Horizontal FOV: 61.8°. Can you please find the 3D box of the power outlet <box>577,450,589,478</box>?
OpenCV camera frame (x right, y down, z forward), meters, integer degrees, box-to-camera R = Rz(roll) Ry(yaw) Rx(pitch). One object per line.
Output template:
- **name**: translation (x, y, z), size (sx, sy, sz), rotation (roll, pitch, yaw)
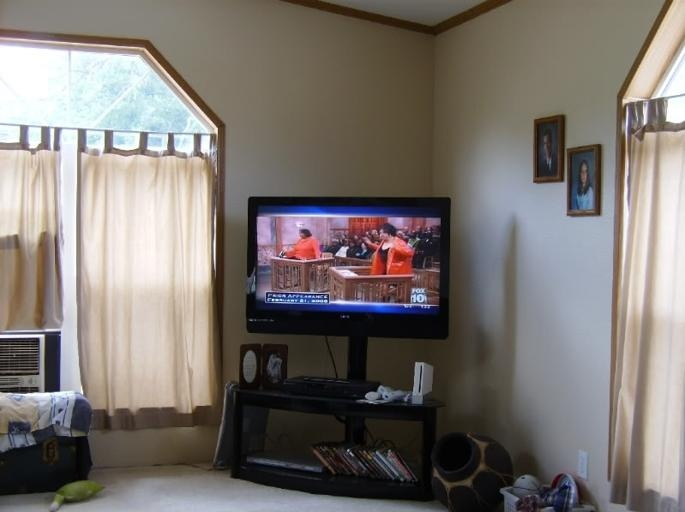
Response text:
- **power outlet**: translation (1.389, 1.194, 3.305), size (0.011, 0.147, 0.071), rotation (0, 0, -36)
